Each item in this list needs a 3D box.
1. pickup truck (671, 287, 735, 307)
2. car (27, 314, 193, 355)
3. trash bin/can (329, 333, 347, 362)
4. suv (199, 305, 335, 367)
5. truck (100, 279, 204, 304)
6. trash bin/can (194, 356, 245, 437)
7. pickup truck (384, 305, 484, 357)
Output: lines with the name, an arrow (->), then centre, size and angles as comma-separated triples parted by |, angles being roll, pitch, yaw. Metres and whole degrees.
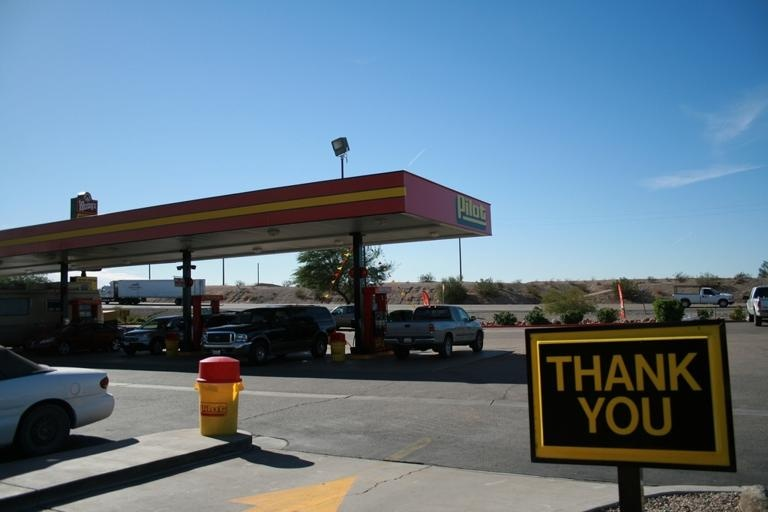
pickup truck -> 28.984, 3.782, 52.793 | 5.114, 1.529, 2.322 | -3, -3, 23
car -> -13.034, 3.786, 27.455 | 5.941, 1.637, 2.876 | -2, -5, 14
trash bin/can -> -1.727, 3.329, 21.399 | 0.563, 0.965, 0.328 | -4, -5, 25
suv -> -4.183, 2.911, 21.900 | 1.371, 2.062, 4.507 | -5, -6, 38
truck -> -31.862, 4.813, 76.394 | 9.940, 3.134, 3.289 | -3, -5, 21
trash bin/can -> -2.872, 2.407, 10.109 | 0.769, 1.305, 0.664 | 0, -5, -17
pickup truck -> 2.094, 2.830, 22.036 | 2.008, 1.120, 3.549 | -2, -1, 36
